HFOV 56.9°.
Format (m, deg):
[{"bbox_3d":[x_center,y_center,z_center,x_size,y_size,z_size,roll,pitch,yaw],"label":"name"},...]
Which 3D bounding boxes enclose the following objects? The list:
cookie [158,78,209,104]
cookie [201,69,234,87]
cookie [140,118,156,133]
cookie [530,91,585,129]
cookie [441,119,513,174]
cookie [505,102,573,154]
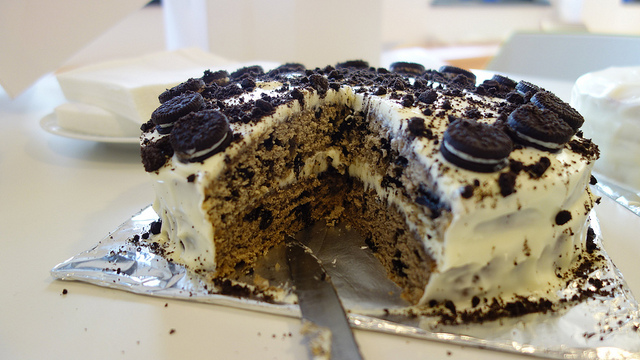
[{"bbox_3d":[-1.274,-0.801,5.672,0.479,0.134,0.459,0,5,-8],"label":"cookie"},{"bbox_3d":[-1.002,-1.004,5.807,0.232,0.069,0.223,-4,25,-13],"label":"cookie"},{"bbox_3d":[-1.570,-0.491,5.446,0.133,0.049,0.105,-32,66,-14],"label":"cookie"},{"bbox_3d":[2.109,-0.636,5.242,0.379,0.102,0.376,33,16,3],"label":"cookie"},{"bbox_3d":[1.289,-0.291,4.901,0.463,0.178,0.462,24,35,20],"label":"cookie"},{"bbox_3d":[1.866,-0.421,5.056,0.341,0.575,0.357,1,3,-23],"label":"cookie"}]
